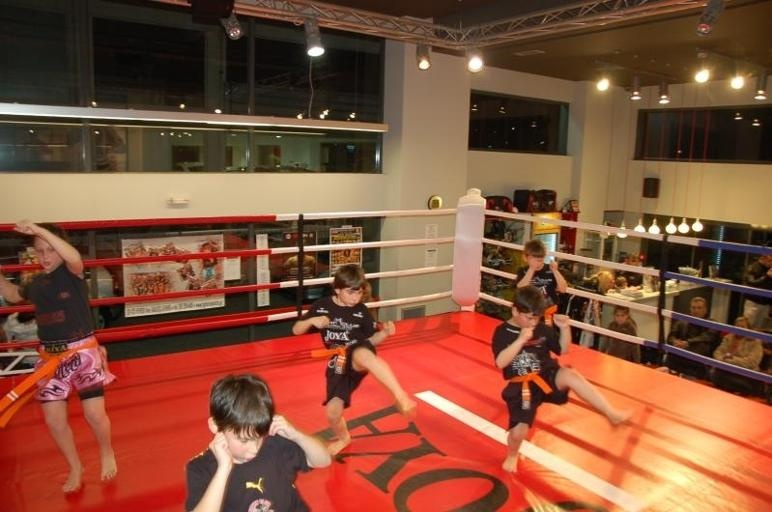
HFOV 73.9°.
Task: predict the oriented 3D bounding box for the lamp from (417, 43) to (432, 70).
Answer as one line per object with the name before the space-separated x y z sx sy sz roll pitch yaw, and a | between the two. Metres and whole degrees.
lamp | 0.501 -2.700 6.935 0.166 0.321 0.254 -1 12 -3

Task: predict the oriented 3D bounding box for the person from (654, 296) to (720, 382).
person | 3.853 1.103 6.419 0.570 1.176 1.567 7 14 30

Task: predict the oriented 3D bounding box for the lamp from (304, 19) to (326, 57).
lamp | -0.869 -2.593 6.129 0.207 0.406 0.533 -2 12 -7

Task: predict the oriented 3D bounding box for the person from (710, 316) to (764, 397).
person | 3.937 1.200 5.726 0.478 0.706 0.851 7 14 33

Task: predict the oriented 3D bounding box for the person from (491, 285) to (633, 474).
person | 1.109 0.762 3.516 0.903 1.147 0.393 -6 13 -23

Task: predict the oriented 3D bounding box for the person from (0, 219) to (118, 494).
person | -2.011 0.594 3.238 0.443 1.626 0.645 -10 15 -35

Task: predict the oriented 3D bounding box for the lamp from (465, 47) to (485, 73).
lamp | 1.168 -2.592 6.773 0.190 0.306 0.517 1 12 7

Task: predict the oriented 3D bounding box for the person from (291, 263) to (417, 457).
person | -0.203 0.673 3.438 0.584 1.229 0.703 -10 16 -38

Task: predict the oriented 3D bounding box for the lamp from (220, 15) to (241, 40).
lamp | -1.741 -2.611 5.770 0.188 0.266 0.318 -5 13 -19
